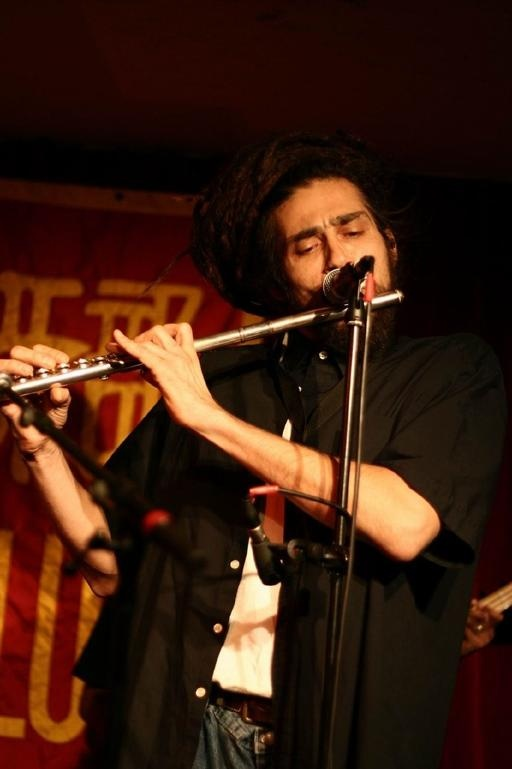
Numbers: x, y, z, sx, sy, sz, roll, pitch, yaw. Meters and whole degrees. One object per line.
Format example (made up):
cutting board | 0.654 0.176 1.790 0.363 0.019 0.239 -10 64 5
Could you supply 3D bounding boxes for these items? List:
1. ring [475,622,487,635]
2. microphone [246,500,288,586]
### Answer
ring | 0.672 0.728 2.146 0.036 0.031 0.008 0 -13 5
microphone | 0.015 0.295 1.410 0.098 0.157 0.160 -4 13 -4
